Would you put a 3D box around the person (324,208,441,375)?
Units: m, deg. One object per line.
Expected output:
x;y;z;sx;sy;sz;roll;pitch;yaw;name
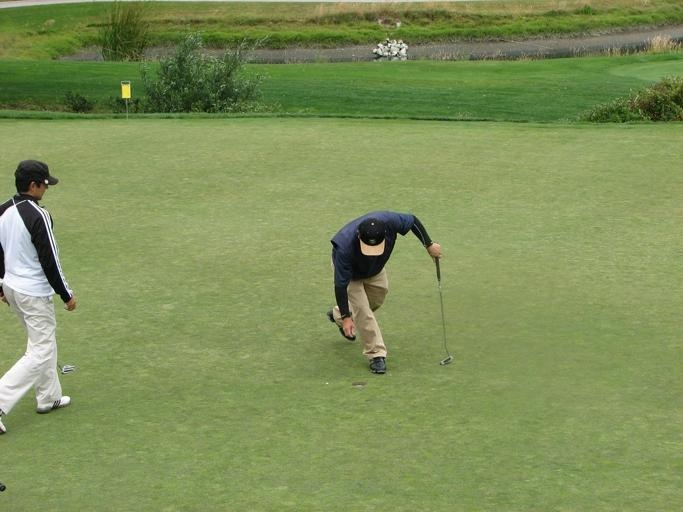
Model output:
0.461;0.491;13.695;1.194;1.594;1.286;-29;51;-23;person

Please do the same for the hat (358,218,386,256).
0.316;-0.187;12.720;0.325;0.351;0.170;-2;-7;3;hat

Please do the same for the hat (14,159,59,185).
-3.160;-0.870;12.303;0.405;0.167;0.264;-7;23;-36;hat

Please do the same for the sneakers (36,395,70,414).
-3.008;1.576;12.459;0.140;0.136;0.383;23;26;38;sneakers
